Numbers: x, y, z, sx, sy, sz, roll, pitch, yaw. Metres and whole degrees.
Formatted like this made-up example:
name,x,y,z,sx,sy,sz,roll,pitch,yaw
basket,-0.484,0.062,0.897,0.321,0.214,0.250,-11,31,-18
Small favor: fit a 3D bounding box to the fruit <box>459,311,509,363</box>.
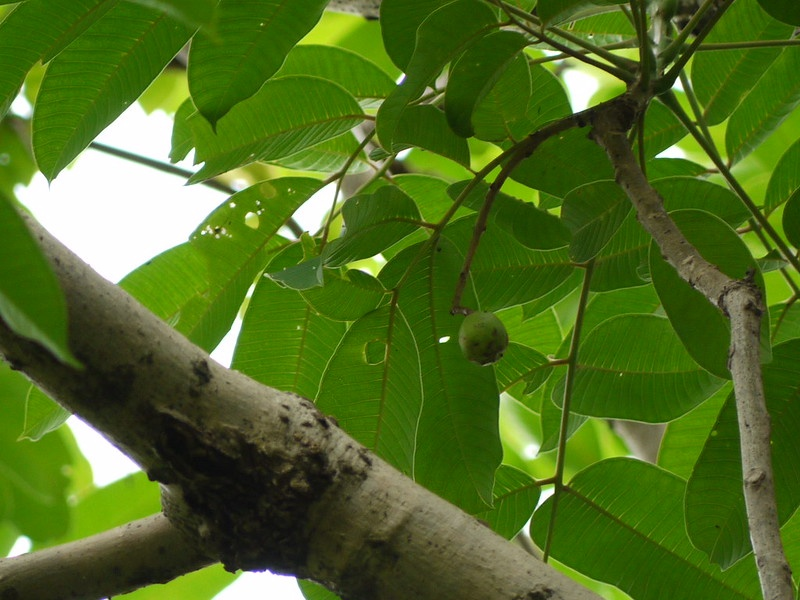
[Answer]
name,x,y,z,sx,sy,sz,roll,pitch,yaw
fruit,0.167,0.076,2.185,0.066,0.073,0.091,-2,-61,60
